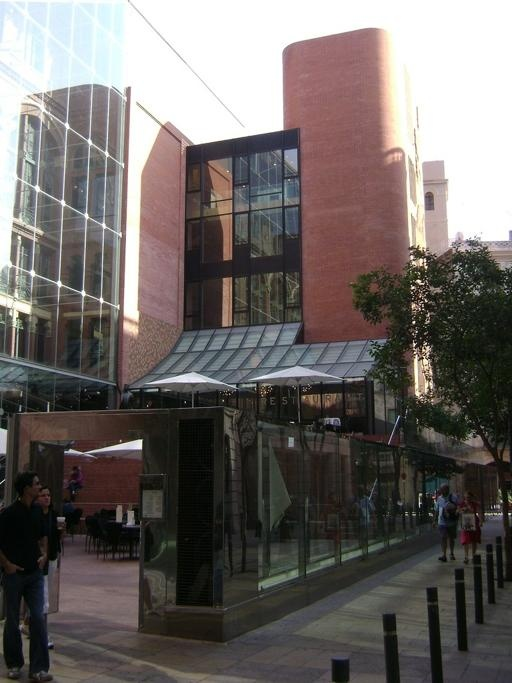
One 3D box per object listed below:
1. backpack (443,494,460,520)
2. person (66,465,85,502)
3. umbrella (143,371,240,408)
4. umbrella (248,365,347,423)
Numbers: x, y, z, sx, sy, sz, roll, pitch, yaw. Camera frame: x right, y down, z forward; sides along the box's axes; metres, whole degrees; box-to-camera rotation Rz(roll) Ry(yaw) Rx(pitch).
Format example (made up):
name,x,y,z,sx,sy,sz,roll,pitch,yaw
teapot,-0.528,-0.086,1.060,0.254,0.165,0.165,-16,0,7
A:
name,x,y,z,sx,sy,sz,roll,pitch,yaw
backpack,4.868,4.137,16.309,0.459,0.668,0.363,-7,-29,23
person,-6.708,5.253,24.127,0.584,1.310,1.092,0,-8,-9
umbrella,-1.987,1.253,19.044,2.090,0.765,2.055,6,-14,-29
umbrella,1.414,1.470,19.498,2.493,1.623,2.197,-10,-1,41
